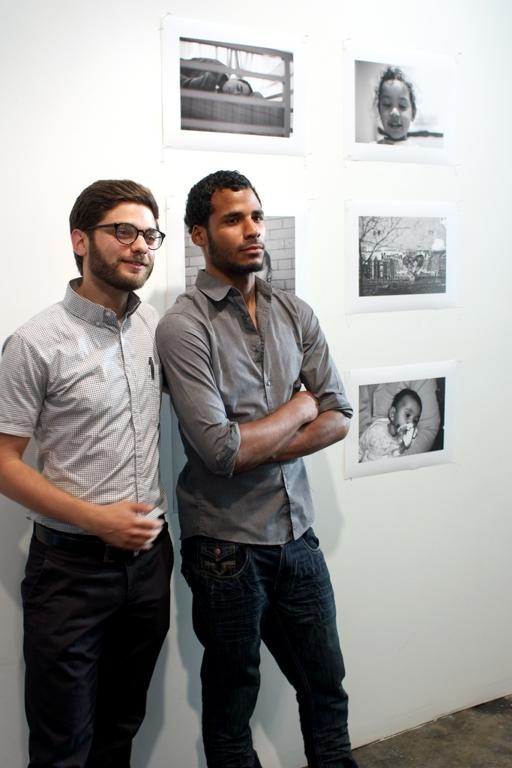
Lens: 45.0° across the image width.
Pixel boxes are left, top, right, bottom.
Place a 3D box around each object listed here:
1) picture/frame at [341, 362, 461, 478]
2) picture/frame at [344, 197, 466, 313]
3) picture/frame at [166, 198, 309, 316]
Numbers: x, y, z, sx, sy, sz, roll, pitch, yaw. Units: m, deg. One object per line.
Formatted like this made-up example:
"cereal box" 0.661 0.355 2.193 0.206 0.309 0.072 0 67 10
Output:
"picture/frame" 0.536 0.128 2.363 0.427 0.367 0.043 -5 9 -26
"picture/frame" 0.558 -0.479 2.324 0.490 0.391 0.017 -5 6 -19
"picture/frame" -0.073 -0.372 1.810 0.413 0.300 0.006 -5 7 -34
